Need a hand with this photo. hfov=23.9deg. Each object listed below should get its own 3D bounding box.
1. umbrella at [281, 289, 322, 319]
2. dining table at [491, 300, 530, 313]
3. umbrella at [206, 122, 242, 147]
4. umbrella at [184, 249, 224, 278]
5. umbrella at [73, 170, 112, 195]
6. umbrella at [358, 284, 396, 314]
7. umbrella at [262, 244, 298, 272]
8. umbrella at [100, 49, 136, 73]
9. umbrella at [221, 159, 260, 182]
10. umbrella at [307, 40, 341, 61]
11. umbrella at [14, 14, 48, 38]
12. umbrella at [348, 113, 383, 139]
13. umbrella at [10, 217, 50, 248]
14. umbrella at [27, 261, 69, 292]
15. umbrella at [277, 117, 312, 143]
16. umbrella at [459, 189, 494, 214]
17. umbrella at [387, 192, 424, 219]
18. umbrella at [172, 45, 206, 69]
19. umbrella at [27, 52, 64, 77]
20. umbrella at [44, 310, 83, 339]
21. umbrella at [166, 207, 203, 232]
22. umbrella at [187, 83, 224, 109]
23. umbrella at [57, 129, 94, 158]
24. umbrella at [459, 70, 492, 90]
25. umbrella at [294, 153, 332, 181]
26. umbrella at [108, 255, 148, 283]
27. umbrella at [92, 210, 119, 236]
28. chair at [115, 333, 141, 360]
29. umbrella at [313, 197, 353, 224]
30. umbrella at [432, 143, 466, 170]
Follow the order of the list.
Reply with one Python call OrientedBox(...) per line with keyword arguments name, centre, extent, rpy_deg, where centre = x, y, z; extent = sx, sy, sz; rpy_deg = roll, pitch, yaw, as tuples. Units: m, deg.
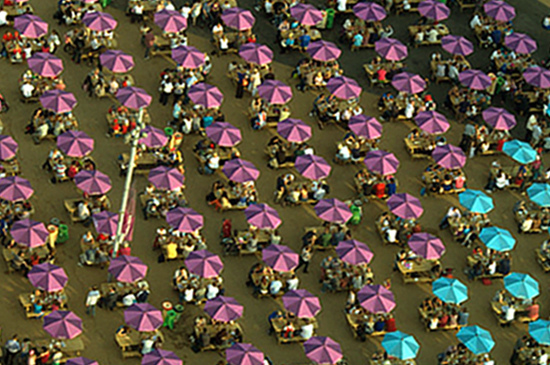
OrientedBox(name="umbrella", centre=(1.717, 8.663, 91.408), extent=(2.508, 1.746, 1.824), rpy_deg=(28, 55, 6))
OrientedBox(name="dining table", centre=(16.843, 8.881, 93.666), extent=(2.336, 0.720, 0.892), rpy_deg=(7, 55, -9))
OrientedBox(name="umbrella", centre=(-4.034, -3.236, 98.366), extent=(2.499, 1.836, 1.822), rpy_deg=(16, 54, -2))
OrientedBox(name="umbrella", centre=(-5.037, 5.770, 92.162), extent=(2.655, 1.024, 2.783), rpy_deg=(22, 31, 34))
OrientedBox(name="umbrella", centre=(-13.373, 0.272, 94.726), extent=(2.445, 1.626, 1.626), rpy_deg=(15, 55, -3))
OrientedBox(name="umbrella", centre=(7.020, 8.445, 92.061), extent=(2.500, 1.848, 1.900), rpy_deg=(23, 55, 3))
OrientedBox(name="umbrella", centre=(0.137, 5.474, 93.076), extent=(2.893, 1.050, 3.069), rpy_deg=(20, 17, -3))
OrientedBox(name="umbrella", centre=(-12.350, -8.941, 100.427), extent=(2.400, 1.533, 1.802), rpy_deg=(11, 55, -6))
OrientedBox(name="umbrella", centre=(-2.557, -0.843, 95.947), extent=(1.808, 0.794, 1.902), rpy_deg=(-1, 60, -12))
OrientedBox(name="umbrella", centre=(3.952, -9.946, 103.743), extent=(2.336, 2.021, 2.509), rpy_deg=(1, 18, 30))
OrientedBox(name="umbrella", centre=(-19.205, -11.970, 101.780), extent=(2.456, 1.090, 1.748), rpy_deg=(9, 55, -8))
OrientedBox(name="umbrella", centre=(6.981, -4.194, 99.743), extent=(2.534, 0.895, 2.721), rpy_deg=(-9, 31, -28))
OrientedBox(name="umbrella", centre=(-17.486, 3.915, 92.144), extent=(2.674, 1.497, 2.528), rpy_deg=(-9, 34, -39))
OrientedBox(name="umbrella", centre=(-15.927, 6.911, 90.577), extent=(2.828, 1.996, 2.771), rpy_deg=(9, 38, -10))
OrientedBox(name="umbrella", centre=(1.336, -3.650, 98.902), extent=(2.485, 1.504, 1.762), rpy_deg=(13, 55, -5))
OrientedBox(name="umbrella", centre=(15.204, 1.476, 96.973), extent=(2.397, 1.218, 2.480), rpy_deg=(-13, 22, -16))
OrientedBox(name="umbrella", centre=(9.517, 1.778, 95.815), extent=(2.466, 0.793, 1.697), rpy_deg=(24, 55, 3))
OrientedBox(name="umbrella", centre=(-6.817, -9.557, 101.337), extent=(2.564, 0.936, 1.693), rpy_deg=(9, 55, -8))
OrientedBox(name="umbrella", centre=(-17.634, -8.777, 99.445), extent=(2.465, 1.029, 1.824), rpy_deg=(12, 55, -6))
OrientedBox(name="umbrella", centre=(-14.582, 9.809, 88.707), extent=(2.480, 1.581, 1.740), rpy_deg=(10, 55, -6))
OrientedBox(name="umbrella", centre=(-6.583, 2.722, 93.633), extent=(2.491, 0.750, 1.713), rpy_deg=(14, 55, -4))
OrientedBox(name="umbrella", centre=(-5.471, -6.350, 99.780), extent=(2.522, 1.415, 1.832), rpy_deg=(19, 55, -1))
OrientedBox(name="umbrella", centre=(-14.865, -2.507, 96.349), extent=(2.182, 1.749, 2.321), rpy_deg=(6, 15, 22))
OrientedBox(name="umbrella", centre=(15.901, -7.961, 102.747), extent=(2.658, 0.826, 1.639), rpy_deg=(1, 57, -13))
OrientedBox(name="umbrella", centre=(2.804, -1.141, 96.340), extent=(2.436, 2.500, 1.052), rpy_deg=(18, 66, -5))
OrientedBox(name="umbrella", centre=(-10.294, 6.065, 91.260), extent=(2.726, 1.116, 2.877), rpy_deg=(12, 20, -8))
OrientedBox(name="umbrella", centre=(-12.062, 2.686, 92.711), extent=(1.728, 1.127, 1.795), rpy_deg=(15, 55, -13))
OrientedBox(name="chair", centre=(-10.125, 11.306, 89.837), extent=(1.827, 1.328, 1.017), rpy_deg=(13, 54, -4))
OrientedBox(name="umbrella", centre=(4.191, 2.182, 95.301), extent=(2.572, 1.174, 1.722), rpy_deg=(19, 55, -1))
OrientedBox(name="umbrella", centre=(13.071, -1.540, 98.923), extent=(2.455, 2.141, 1.831), rpy_deg=(2, 56, -12))
